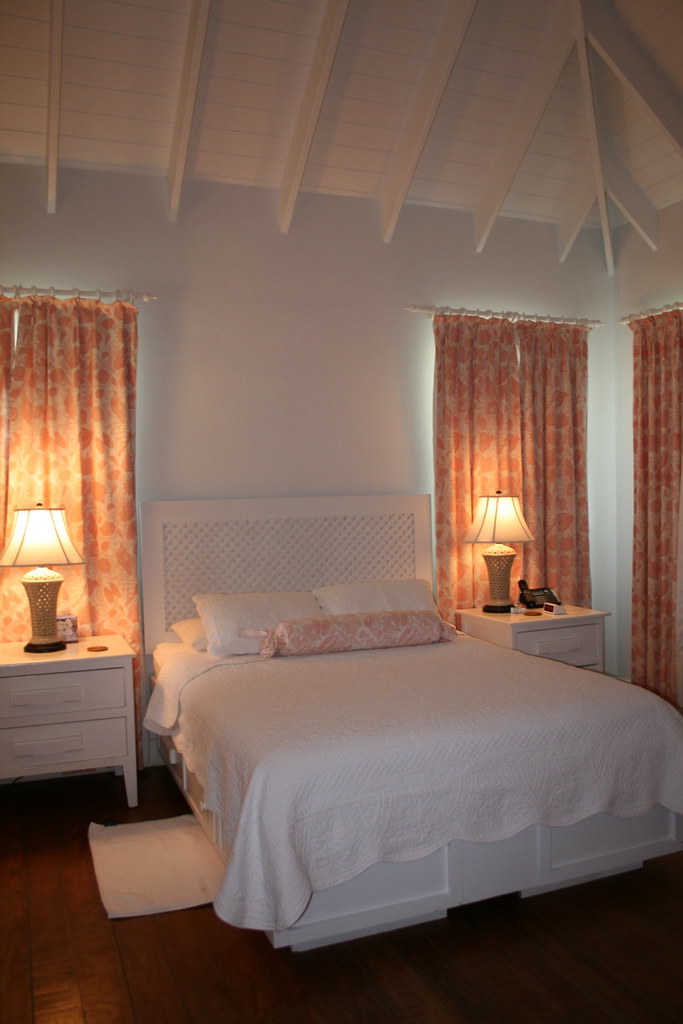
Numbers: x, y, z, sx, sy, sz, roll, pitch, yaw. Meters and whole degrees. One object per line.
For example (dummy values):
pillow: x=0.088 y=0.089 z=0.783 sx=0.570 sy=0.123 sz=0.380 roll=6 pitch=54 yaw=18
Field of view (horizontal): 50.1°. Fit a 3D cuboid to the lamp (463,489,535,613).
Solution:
lamp: x=0.894 y=0.227 z=4.245 sx=0.366 sy=0.703 sz=0.417 roll=-1 pitch=-4 yaw=-3
